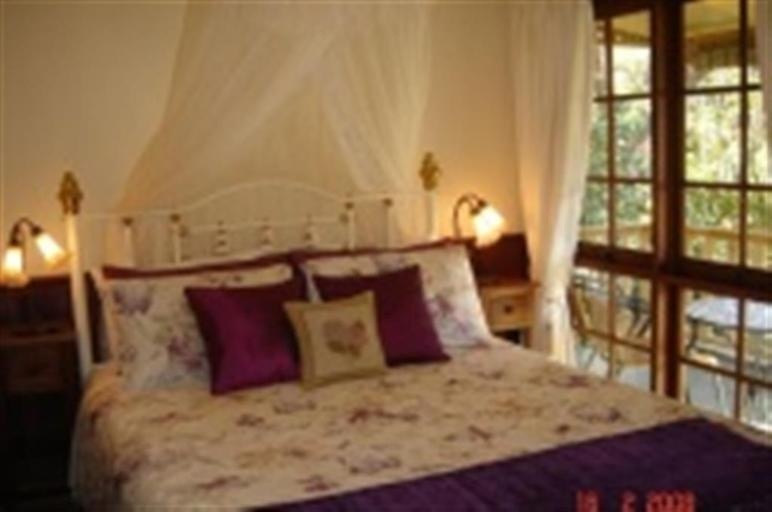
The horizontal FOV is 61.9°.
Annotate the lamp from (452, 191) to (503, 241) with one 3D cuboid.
[{"bbox_3d":[0.485,-0.184,3.254,0.267,0.246,0.220,-20,15,17],"label":"lamp"}]
